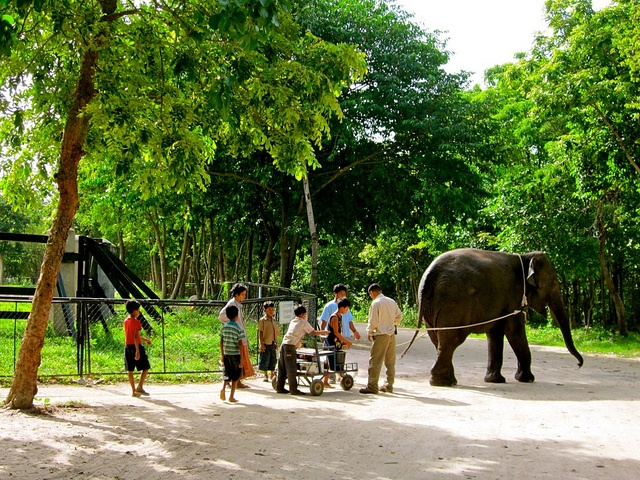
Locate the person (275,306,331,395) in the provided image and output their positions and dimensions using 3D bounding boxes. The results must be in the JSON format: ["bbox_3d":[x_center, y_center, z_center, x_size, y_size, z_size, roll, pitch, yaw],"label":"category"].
[{"bbox_3d":[-0.558,2.240,13.682,0.655,1.793,0.362,1,4,-3],"label":"person"}]

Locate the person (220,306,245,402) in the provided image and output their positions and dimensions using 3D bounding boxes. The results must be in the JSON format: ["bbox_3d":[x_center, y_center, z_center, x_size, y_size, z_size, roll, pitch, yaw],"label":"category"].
[{"bbox_3d":[-1.703,2.194,12.908,0.447,1.773,0.817,1,4,-6],"label":"person"}]

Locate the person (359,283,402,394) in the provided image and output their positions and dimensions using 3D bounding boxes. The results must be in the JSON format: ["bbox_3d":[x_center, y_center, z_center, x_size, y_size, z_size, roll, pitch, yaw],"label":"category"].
[{"bbox_3d":[1.246,2.091,14.069,0.655,2.212,0.906,4,5,31],"label":"person"}]

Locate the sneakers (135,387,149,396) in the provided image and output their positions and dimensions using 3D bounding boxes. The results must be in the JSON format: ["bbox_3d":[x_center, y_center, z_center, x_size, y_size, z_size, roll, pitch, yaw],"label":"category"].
[{"bbox_3d":[-3.458,2.939,12.987,0.242,0.111,0.115,24,-8,-8],"label":"sneakers"}]

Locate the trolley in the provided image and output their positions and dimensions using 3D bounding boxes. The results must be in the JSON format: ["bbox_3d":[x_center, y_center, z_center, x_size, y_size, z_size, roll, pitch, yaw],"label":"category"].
[{"bbox_3d":[0.115,2.727,14.344,1.430,1.150,1.145,-1,0,-39],"label":"trolley"}]

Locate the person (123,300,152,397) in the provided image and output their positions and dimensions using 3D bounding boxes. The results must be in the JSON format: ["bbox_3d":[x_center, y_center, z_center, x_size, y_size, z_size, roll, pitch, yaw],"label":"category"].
[{"bbox_3d":[-3.610,2.118,13.195,0.459,1.891,0.920,0,4,-16],"label":"person"}]

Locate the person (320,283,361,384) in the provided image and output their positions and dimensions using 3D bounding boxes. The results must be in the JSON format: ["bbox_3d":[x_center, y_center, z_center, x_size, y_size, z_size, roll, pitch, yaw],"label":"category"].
[{"bbox_3d":[0.344,2.057,15.055,0.870,2.110,0.518,-3,-25,14],"label":"person"}]
